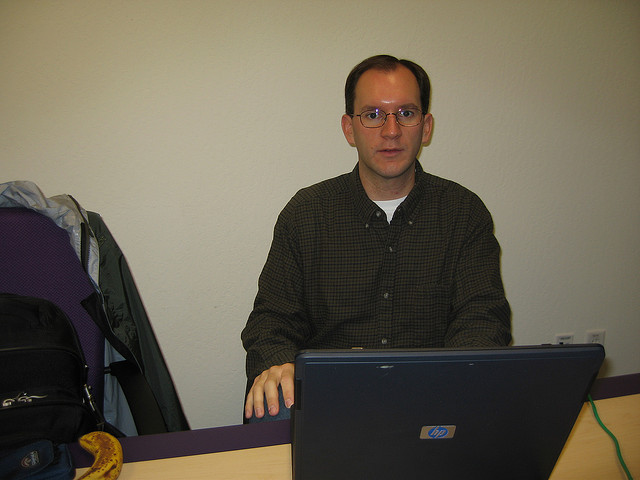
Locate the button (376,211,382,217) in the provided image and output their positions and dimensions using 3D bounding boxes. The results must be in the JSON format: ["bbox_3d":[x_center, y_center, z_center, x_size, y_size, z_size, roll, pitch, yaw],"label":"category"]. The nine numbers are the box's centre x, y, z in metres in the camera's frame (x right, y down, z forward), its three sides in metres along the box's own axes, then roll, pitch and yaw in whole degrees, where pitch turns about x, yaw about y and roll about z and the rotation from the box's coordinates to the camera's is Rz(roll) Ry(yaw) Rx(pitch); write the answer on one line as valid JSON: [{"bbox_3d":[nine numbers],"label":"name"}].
[{"bbox_3d":[0.218,-0.100,1.949,0.017,0.018,0.004,2,5,12],"label":"button"}]

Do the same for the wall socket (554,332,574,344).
[{"bbox_3d":[1.202,0.483,2.599,0.112,0.062,0.030,-6,8,-14],"label":"wall socket"}]

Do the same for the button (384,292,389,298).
[{"bbox_3d":[0.247,0.203,1.959,0.026,0.026,0.014,0,-4,3],"label":"button"}]

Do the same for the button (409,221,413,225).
[{"bbox_3d":[0.341,-0.064,1.971,0.014,0.008,0.003,-9,9,-35],"label":"button"}]

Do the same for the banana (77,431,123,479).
[{"bbox_3d":[-0.525,0.509,1.249,0.074,0.033,0.135,0,19,-19],"label":"banana"}]
